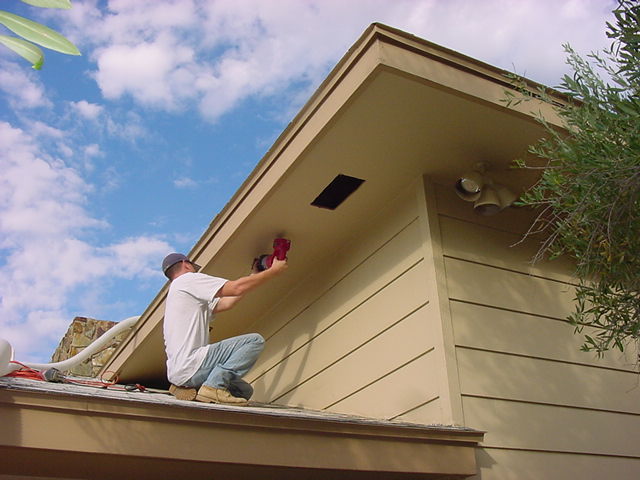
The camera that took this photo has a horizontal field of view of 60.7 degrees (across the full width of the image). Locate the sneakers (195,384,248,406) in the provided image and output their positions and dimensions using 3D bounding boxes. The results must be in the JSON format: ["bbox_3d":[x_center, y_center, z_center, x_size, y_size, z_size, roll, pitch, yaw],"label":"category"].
[{"bbox_3d":[-0.638,1.022,3.594,0.333,0.145,0.123,3,-14,1],"label":"sneakers"}]

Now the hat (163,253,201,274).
[{"bbox_3d":[-1.162,0.188,4.544,0.236,0.125,0.156,-2,-17,-37],"label":"hat"}]

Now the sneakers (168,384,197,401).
[{"bbox_3d":[-0.948,1.036,3.750,0.091,0.089,0.302,17,-15,-34],"label":"sneakers"}]
